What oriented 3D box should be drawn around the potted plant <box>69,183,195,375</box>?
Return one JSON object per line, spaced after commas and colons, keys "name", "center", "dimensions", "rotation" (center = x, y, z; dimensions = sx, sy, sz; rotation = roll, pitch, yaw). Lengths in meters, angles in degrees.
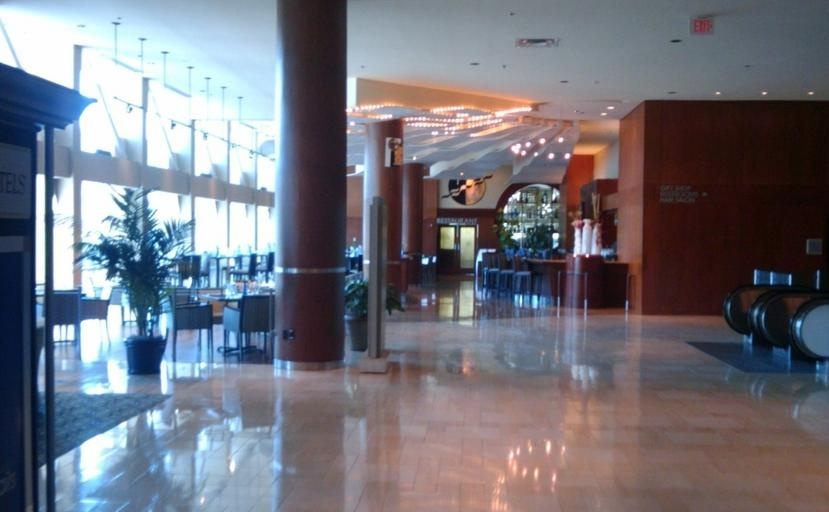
{"name": "potted plant", "center": [-3.983, 0.332, 9.101], "dimensions": [1.357, 2.562, 1.196], "rotation": [-4, 10, -26]}
